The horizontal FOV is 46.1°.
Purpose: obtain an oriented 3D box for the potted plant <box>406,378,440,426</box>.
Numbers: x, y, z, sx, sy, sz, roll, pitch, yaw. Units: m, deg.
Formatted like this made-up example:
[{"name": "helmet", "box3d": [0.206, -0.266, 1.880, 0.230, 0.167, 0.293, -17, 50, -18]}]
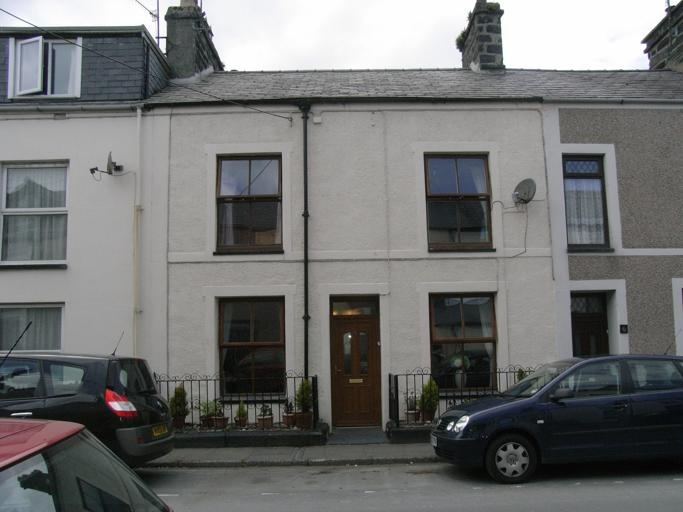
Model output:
[{"name": "potted plant", "box3d": [1.671, 3.028, 16.286, 1.004, 1.174, 0.774, 0, -13, 1]}]
